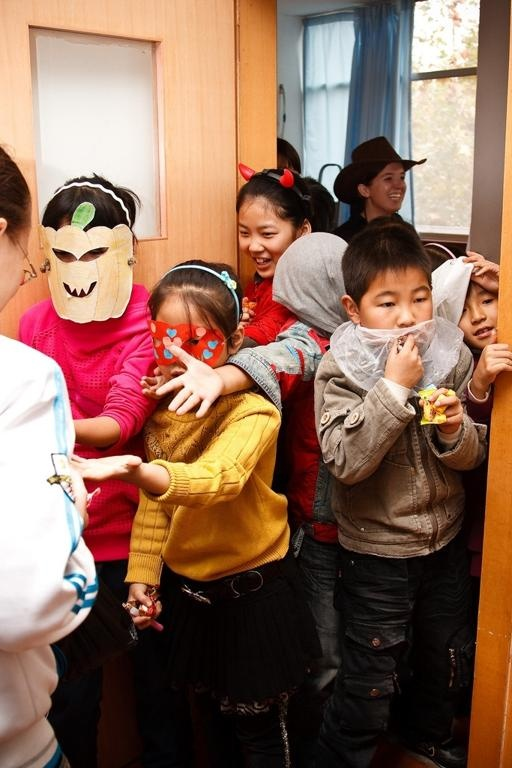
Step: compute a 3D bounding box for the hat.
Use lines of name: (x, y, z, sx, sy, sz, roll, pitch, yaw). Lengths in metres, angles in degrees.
hat: (0.490, -0.917, 2.277, 0.323, 0.166, 0.404, 8, 26, 40)

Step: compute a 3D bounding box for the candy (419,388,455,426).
candy: (0.294, 0.040, 0.944, 0.046, 0.058, 0.050, 3, 17, 17)
